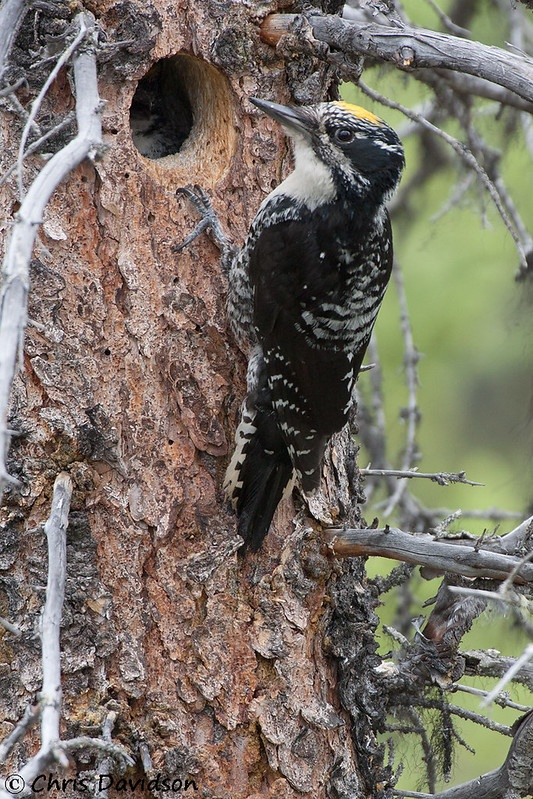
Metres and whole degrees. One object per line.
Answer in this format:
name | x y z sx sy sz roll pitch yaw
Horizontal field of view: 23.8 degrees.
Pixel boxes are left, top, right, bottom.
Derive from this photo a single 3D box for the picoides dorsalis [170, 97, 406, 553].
picoides dorsalis | 0.065 -0.304 4.284 0.694 1.274 0.908 18 17 -2
